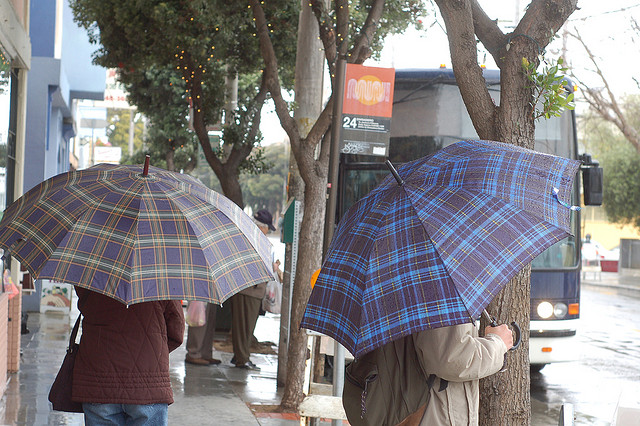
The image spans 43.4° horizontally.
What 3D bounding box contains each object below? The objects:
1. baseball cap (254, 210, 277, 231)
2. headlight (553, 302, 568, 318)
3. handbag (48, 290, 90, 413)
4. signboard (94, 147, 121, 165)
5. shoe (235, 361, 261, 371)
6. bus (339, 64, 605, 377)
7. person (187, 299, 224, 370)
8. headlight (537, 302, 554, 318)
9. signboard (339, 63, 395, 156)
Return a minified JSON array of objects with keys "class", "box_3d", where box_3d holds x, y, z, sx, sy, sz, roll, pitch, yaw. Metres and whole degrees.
[{"class":"baseball cap","box_3d":[-0.961,0.077,13.817,0.363,0.233,0.280,24,11,2]},{"class":"headlight","box_3d":[3.794,1.503,12.602,0.192,0.232,0.048,14,-15,-21]},{"class":"handbag","box_3d":[-2.478,1.457,7.825,0.307,0.961,0.261,2,-3,-30]},{"class":"signboard","box_3d":[-11.957,-3.294,44.798,1.296,1.257,3.900,2,-4,-16]},{"class":"shoe","box_3d":[-1.207,2.496,13.297,0.348,0.169,0.133,4,-2,3]},{"class":"bus","box_3d":[2.854,-0.119,13.555,2.313,3.600,7.214,0,-6,-1]},{"class":"person","box_3d":[-1.918,1.976,13.352,0.488,1.096,1.487,0,-3,12]},{"class":"headlight","box_3d":[3.532,1.503,12.536,0.200,0.249,0.117,3,-8,-10]},{"class":"signboard","box_3d":[0.534,-1.172,9.292,0.600,1.260,0.020,4,-29,3]}]
